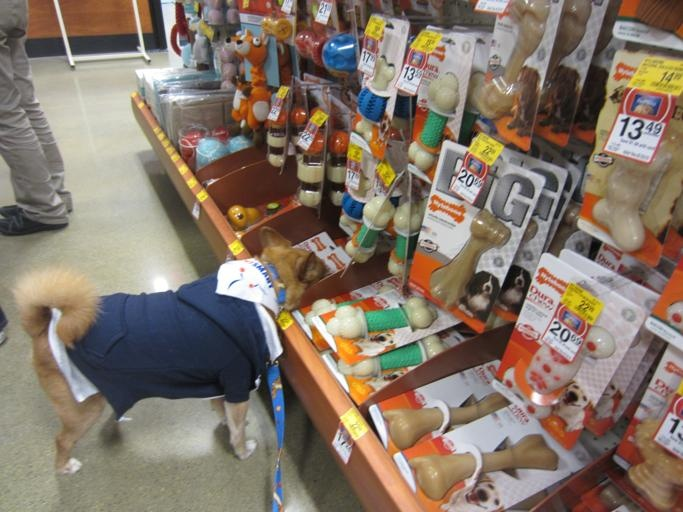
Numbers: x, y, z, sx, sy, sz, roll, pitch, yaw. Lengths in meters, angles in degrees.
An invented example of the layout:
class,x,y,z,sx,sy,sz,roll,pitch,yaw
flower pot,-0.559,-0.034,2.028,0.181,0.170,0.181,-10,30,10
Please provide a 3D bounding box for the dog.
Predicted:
class,x,y,z,sx,sy,sz,roll,pitch,yaw
dog,-0.615,0.399,1.901,1.091,0.907,0.427,-4,23,-21
